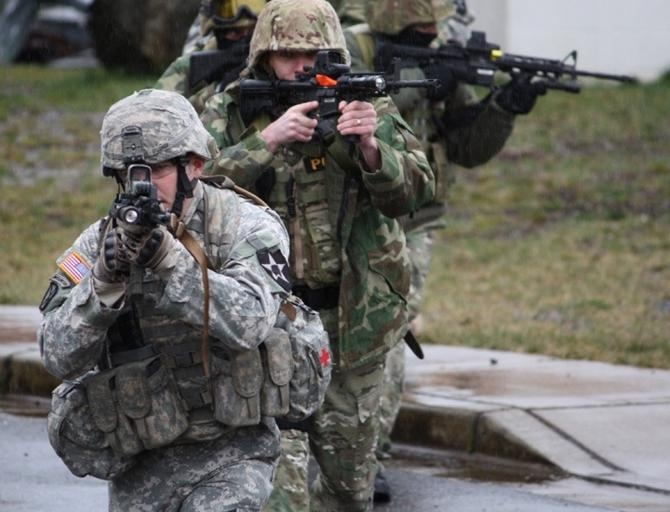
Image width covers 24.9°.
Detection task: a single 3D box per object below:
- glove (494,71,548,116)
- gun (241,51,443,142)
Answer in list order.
[{"bbox_3d":[1.365,-1.168,11.145,0.137,0.352,0.436,-4,27,-39],"label":"glove"},{"bbox_3d":[-0.010,-1.086,10.290,1.375,0.594,0.218,0,-2,18],"label":"gun"}]
